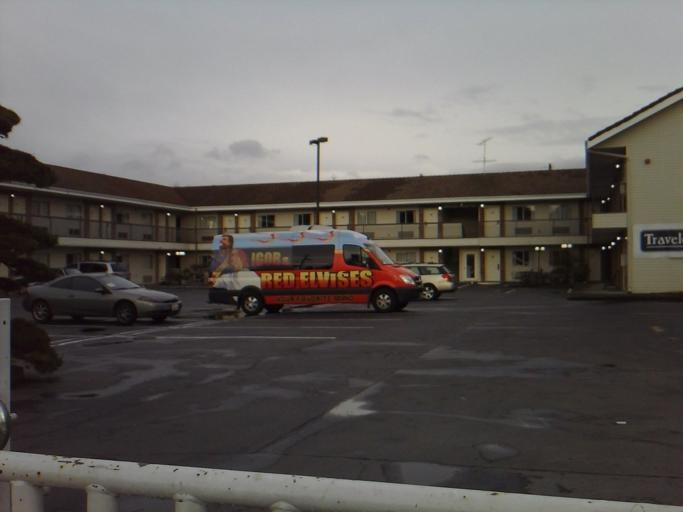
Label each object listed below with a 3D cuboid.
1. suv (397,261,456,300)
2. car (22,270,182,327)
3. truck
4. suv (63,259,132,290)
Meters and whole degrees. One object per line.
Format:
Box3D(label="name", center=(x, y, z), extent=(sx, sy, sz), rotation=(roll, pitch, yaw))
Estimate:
Box3D(label="suv", center=(3.616, 1.039, 29.542), extent=(2.561, 1.038, 1.201), rotation=(1, -1, 5))
Box3D(label="car", center=(-6.817, 1.170, 19.759), extent=(4.057, 1.359, 0.948), rotation=(-1, 2, 15))
Box3D(label="truck", center=(-0.791, 0.518, 22.893), extent=(6.648, 2.924, 2.794), rotation=(-3, -2, 10))
Box3D(label="suv", center=(-9.380, 0.667, 26.827), extent=(1.909, 1.001, 1.123), rotation=(3, 1, 0))
